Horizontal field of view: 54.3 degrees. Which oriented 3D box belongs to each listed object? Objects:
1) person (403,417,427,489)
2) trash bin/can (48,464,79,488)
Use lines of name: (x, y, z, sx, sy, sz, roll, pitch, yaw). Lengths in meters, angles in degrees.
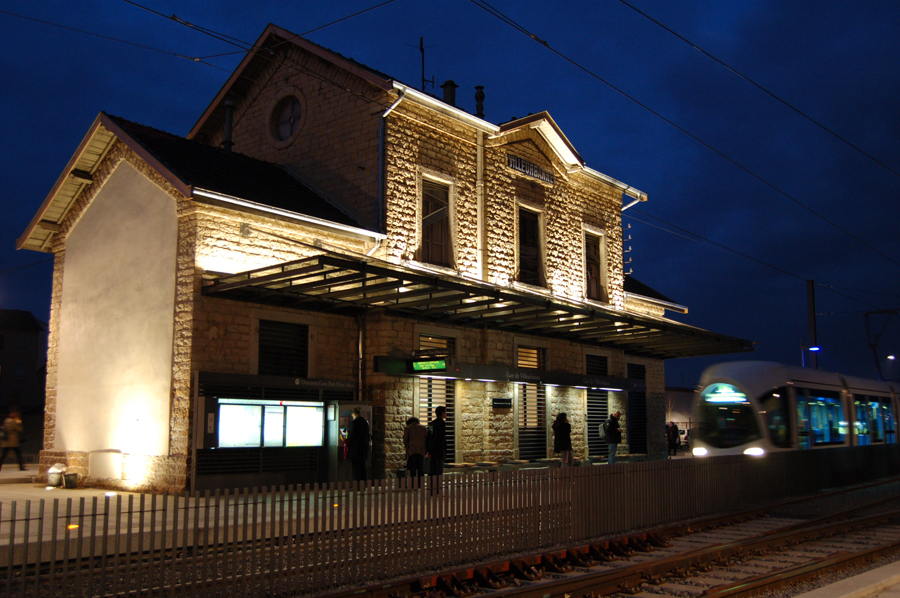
person: (-0.861, 3.515, 20.746, 0.530, 1.148, 0.969, 5, 2, -2)
trash bin/can: (-10.306, 4.662, 23.316, 0.717, 0.635, 0.535, -5, -10, 18)
